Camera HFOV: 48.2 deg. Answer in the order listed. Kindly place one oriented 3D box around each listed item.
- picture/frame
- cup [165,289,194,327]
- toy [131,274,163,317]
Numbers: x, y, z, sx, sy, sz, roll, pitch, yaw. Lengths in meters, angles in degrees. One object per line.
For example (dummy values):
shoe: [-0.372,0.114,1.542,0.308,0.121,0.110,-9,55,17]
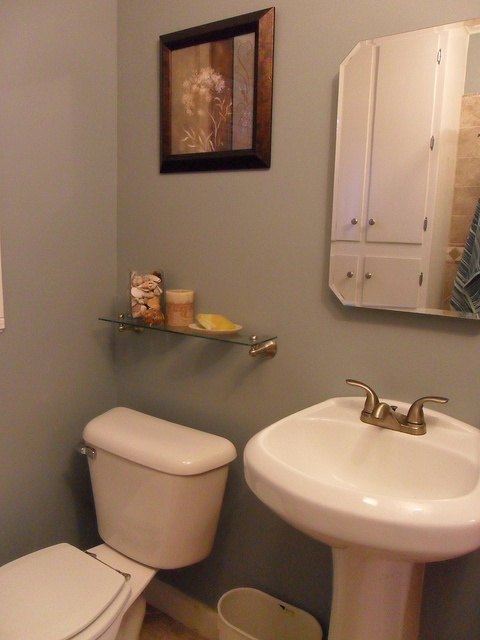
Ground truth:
picture/frame: [-0.052,-0.627,1.434,0.451,0.475,0.039,6,8,40]
cup: [-0.170,-0.033,1.494,0.086,0.107,0.088,1,4,0]
toy: [-0.271,-0.067,1.551,0.092,0.135,0.054,-1,17,-11]
